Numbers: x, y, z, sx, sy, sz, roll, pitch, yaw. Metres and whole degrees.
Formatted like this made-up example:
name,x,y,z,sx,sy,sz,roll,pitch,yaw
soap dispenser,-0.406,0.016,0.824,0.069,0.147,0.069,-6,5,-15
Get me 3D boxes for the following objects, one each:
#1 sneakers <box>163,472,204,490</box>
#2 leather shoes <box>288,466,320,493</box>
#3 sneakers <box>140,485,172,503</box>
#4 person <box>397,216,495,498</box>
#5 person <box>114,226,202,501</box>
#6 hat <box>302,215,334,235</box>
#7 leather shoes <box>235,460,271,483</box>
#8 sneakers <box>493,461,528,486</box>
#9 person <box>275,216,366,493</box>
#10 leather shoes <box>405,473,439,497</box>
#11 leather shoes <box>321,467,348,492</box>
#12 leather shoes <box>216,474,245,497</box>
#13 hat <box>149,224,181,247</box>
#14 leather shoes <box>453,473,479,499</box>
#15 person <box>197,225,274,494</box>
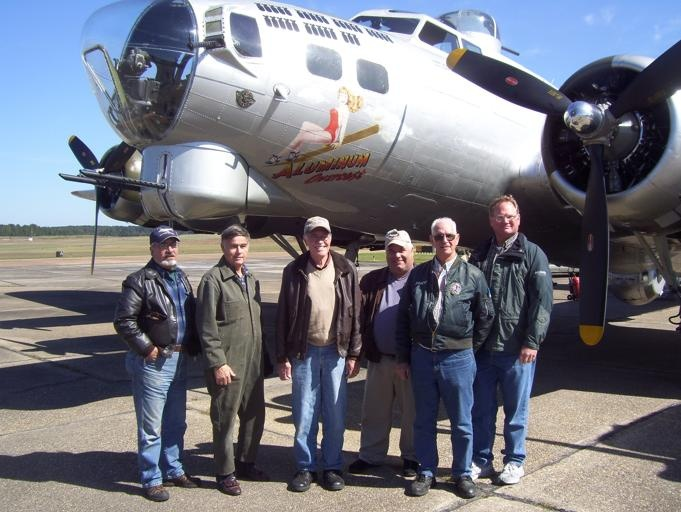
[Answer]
name,x,y,z,sx,sy,sz,roll,pitch,yaw
sneakers,-1.360,1.941,4.489,0.303,0.109,0.124,2,-7,-3
leather shoes,-0.329,1.922,4.501,0.244,0.145,0.239,2,3,-3
sneakers,-1.518,1.958,4.279,0.239,0.101,0.098,-1,-2,20
person,0.890,0.839,4.466,0.823,2.320,0.449,3,3,5
person,-1.557,0.868,4.453,0.712,2.246,0.617,1,4,-29
hat,-0.217,-0.282,4.744,0.192,0.135,0.274,3,-8,-4
leather shoes,-0.737,1.917,4.616,0.378,0.220,0.123,1,-1,-3
sneakers,1.463,1.892,4.508,0.121,0.115,0.309,-6,-11,33
person,-0.204,0.823,4.629,0.779,2.335,0.613,3,3,2
leather shoes,0.695,1.935,4.415,0.304,0.135,0.202,2,3,-6
leather shoes,-0.062,1.931,4.530,0.220,0.135,0.239,2,3,-1
leather shoes,-0.935,1.931,4.374,0.105,0.111,0.275,4,-6,-40
hat,-1.585,-0.187,4.591,0.169,0.116,0.222,-2,0,-38
leather shoes,1.052,1.933,4.314,0.096,0.096,0.252,-4,-9,-3
person,-0.910,0.865,4.562,0.512,2.238,0.559,5,4,33
